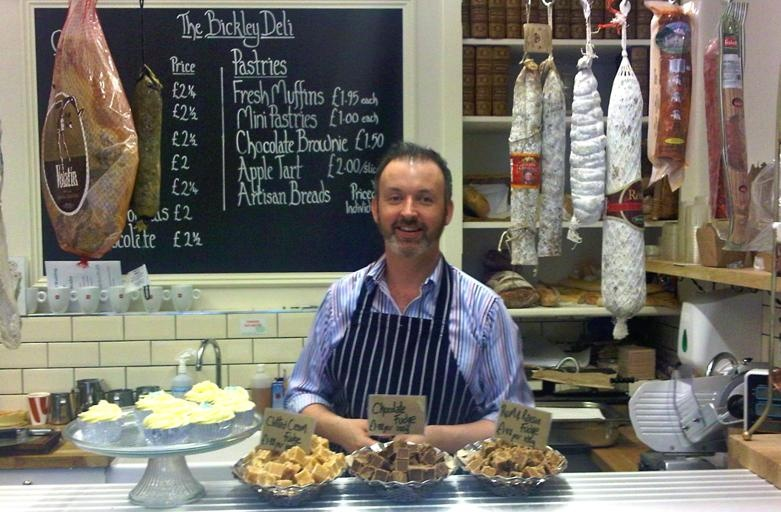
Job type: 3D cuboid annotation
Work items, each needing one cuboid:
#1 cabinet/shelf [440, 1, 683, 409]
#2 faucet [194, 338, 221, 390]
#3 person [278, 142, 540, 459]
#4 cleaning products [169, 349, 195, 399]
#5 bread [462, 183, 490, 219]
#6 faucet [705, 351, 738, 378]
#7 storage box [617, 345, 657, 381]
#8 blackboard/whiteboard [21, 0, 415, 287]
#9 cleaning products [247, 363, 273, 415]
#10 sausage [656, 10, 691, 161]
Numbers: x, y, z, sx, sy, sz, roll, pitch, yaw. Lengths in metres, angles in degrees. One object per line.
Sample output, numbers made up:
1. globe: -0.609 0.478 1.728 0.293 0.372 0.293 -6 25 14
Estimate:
1. cabinet/shelf: 0.847 -0.286 3.670 1.247 2.317 0.533 1 2 12
2. faucet: -0.977 0.598 4.034 0.139 0.302 0.462 -5 4 -13
3. person: 0.036 0.176 2.996 1.013 1.276 0.443 -4 4 8
4. cleaning products: -1.136 0.644 4.072 0.156 0.236 0.378 -5 4 -16
5. bread: 0.492 -0.310 4.278 0.117 0.213 0.070 -12 -17 -33
6. faucet: 1.415 0.461 3.150 0.114 0.113 0.033 -40 -16 17
7. storage box: 1.407 0.604 4.234 0.186 0.171 0.185 1 -3 3
8. blackboard/whiteboard: -0.943 -0.647 3.889 1.725 1.183 0.026 -1 -1 -8
9. cleaning products: -0.717 0.720 4.143 0.135 0.238 0.274 -5 4 -12
10. sausage: 1.137 -0.683 2.970 0.143 0.566 0.060 -5 4 -6
